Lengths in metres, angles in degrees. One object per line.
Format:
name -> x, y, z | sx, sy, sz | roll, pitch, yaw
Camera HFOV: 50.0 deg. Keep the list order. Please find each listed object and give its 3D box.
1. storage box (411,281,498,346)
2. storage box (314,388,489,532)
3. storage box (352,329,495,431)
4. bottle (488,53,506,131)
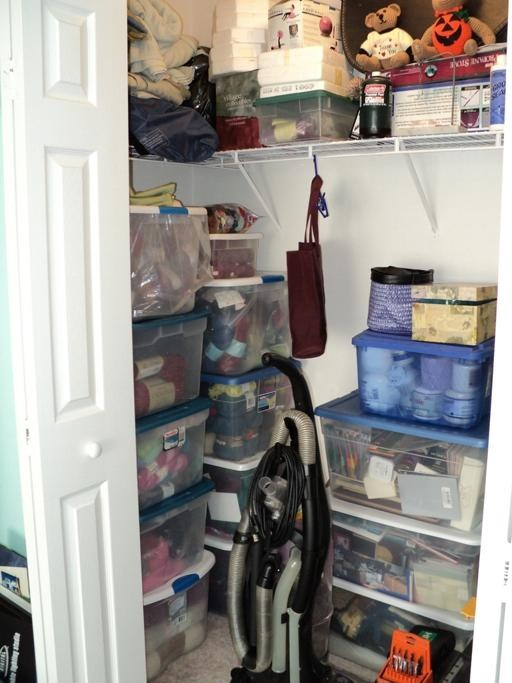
storage box -> 0.539, -0.084, 1.521 | 0.210, 0.155, 0.209 | 6, 16, 31
storage box -> 0.436, 0.328, 1.614 | 0.404, 0.249, 0.288 | 4, 9, 34
storage box -> 0.455, 0.085, 1.534 | 0.315, 0.203, 0.244 | 4, 10, 31
bottle -> 0.578, -0.609, 1.320 | 0.032, 0.181, 0.166 | 3, 14, 21
